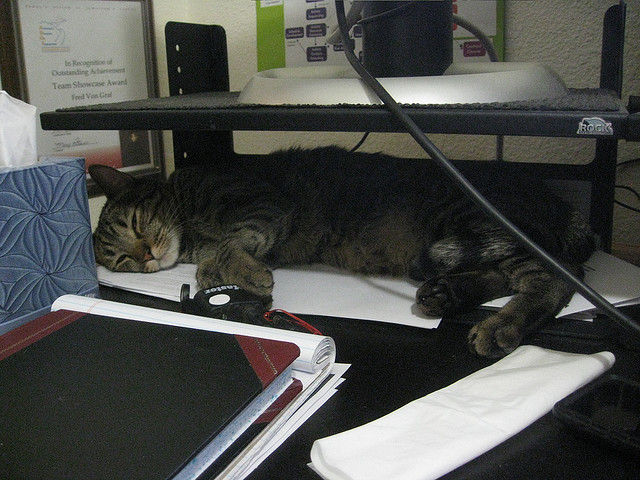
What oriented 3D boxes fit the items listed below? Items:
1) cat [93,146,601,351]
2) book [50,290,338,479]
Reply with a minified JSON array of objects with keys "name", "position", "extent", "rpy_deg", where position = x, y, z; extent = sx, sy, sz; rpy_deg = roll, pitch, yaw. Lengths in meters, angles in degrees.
[{"name":"cat","position":[-0.094,0.020,1.277],"extent":[1.234,0.406,0.443],"rpy_deg":[6,60,11]},{"name":"book","position":[-0.156,0.181,0.789],"extent":[0.254,0.035,0.246],"rpy_deg":[7,12,28]}]
